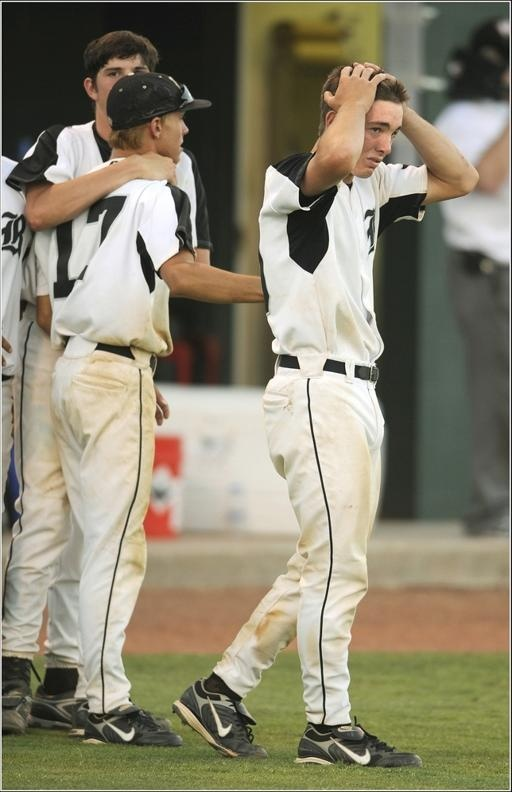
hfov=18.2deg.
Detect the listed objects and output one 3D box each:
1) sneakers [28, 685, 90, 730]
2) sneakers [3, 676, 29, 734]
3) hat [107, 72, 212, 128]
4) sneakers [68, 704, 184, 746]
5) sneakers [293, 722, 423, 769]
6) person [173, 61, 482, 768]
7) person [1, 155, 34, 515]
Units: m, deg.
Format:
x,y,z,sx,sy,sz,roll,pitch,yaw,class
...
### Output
x,y,z,sx,sy,sz,roll,pitch,yaw,class
-0.659,1.033,5.279,0.260,0.141,0.095,2,-7,20,sneakers
-0.766,1.005,5.145,0.104,0.169,0.090,2,0,-21,sneakers
-0.326,-0.940,5.034,0.231,0.126,0.164,-11,21,-8,hat
-0.397,1.021,4.953,0.372,0.165,0.145,7,-3,-3,sneakers
0.298,1.021,4.781,0.374,0.153,0.151,4,-10,-5,sneakers
0.263,0.034,4.910,0.722,2.096,0.562,2,0,-38,person
-0.795,-0.269,5.215,0.098,1.083,0.296,2,0,-5,person
